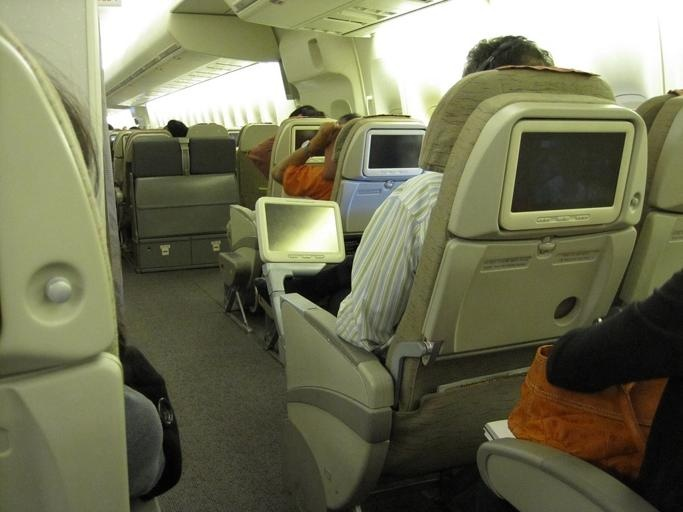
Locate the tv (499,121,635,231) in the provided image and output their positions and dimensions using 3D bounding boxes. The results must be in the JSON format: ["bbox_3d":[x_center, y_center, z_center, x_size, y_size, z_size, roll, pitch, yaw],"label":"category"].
[{"bbox_3d":[0.524,-0.204,1.338,0.261,0.195,0.028,-2,19,-20],"label":"tv"}]

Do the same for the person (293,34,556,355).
[{"bbox_3d":[0.310,-0.313,2.075,0.720,1.143,0.951,-8,24,-32],"label":"person"}]

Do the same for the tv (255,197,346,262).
[{"bbox_3d":[-0.222,-0.143,2.976,0.363,0.279,0.038,0,-15,-18],"label":"tv"}]
